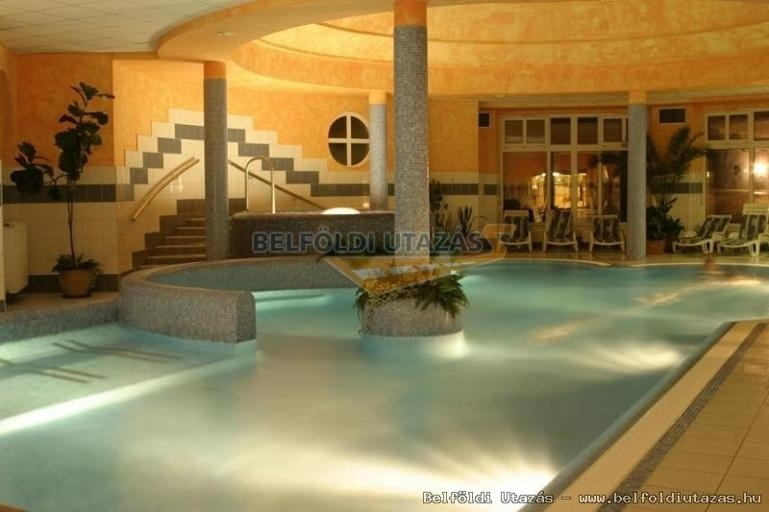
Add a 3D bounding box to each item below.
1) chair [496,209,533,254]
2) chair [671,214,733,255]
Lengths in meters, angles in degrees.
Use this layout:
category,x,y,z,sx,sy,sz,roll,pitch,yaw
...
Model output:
category,x,y,z,sx,sy,sz,roll,pitch,yaw
chair,4.397,-0.887,16.767,0.991,1.286,1.599,2,7,17
chair,9.886,-0.605,15.605,2.092,0.958,1.118,-16,11,-34
